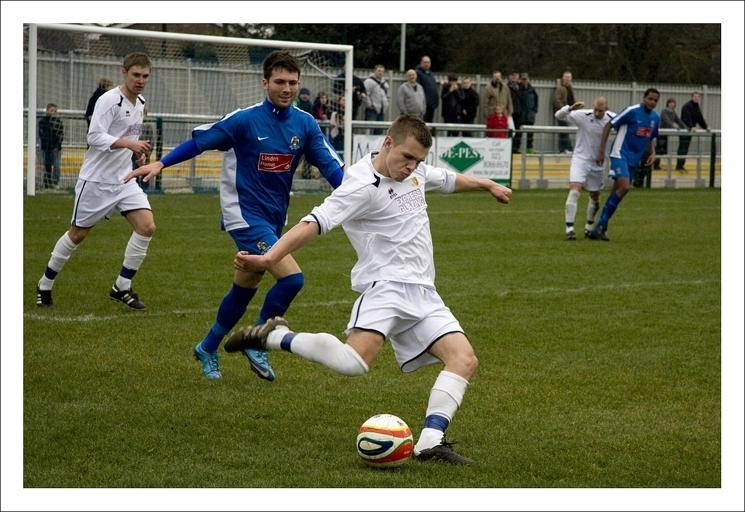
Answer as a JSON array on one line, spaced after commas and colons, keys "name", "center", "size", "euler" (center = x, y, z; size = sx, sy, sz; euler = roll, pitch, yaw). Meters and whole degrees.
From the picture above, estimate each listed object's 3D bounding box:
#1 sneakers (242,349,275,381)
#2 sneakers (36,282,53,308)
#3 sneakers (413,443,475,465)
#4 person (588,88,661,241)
[{"name": "sneakers", "center": [-1.016, 0.968, 7.309], "size": [0.154, 0.318, 0.108], "euler": [-31, 15, 41]}, {"name": "sneakers", "center": [-3.548, 0.393, 8.886], "size": [0.164, 0.227, 0.295], "euler": [-3, 12, -22]}, {"name": "sneakers", "center": [0.542, 1.452, 6.189], "size": [0.445, 0.183, 0.153], "euler": [2, 1, 5]}, {"name": "person", "center": [3.932, -1.424, 12.787], "size": [0.940, 2.331, 0.598], "euler": [1, 10, -1]}]
